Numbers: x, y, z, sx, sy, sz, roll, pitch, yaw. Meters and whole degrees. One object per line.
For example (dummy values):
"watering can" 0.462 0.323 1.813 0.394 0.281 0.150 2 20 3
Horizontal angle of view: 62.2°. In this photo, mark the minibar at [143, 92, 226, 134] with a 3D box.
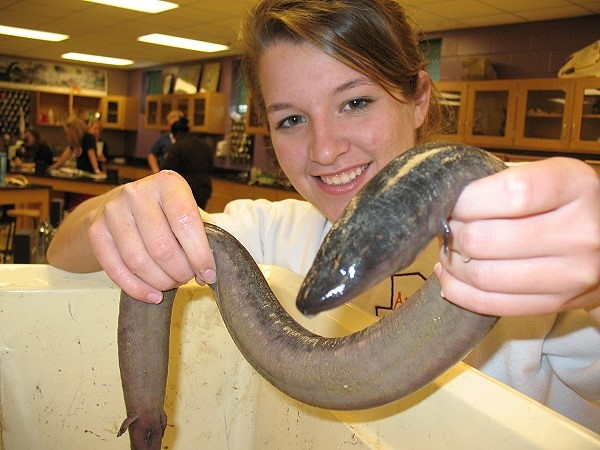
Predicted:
"minibar" -2.180 -2.057 9.233 1.911 0.695 0.363 10 10 38

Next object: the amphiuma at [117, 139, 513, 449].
"amphiuma" -0.031 0.168 0.805 0.628 0.600 0.262 5 4 32

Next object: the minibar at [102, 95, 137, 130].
"minibar" -4.246 -2.588 11.558 0.657 0.706 0.500 2 3 4
